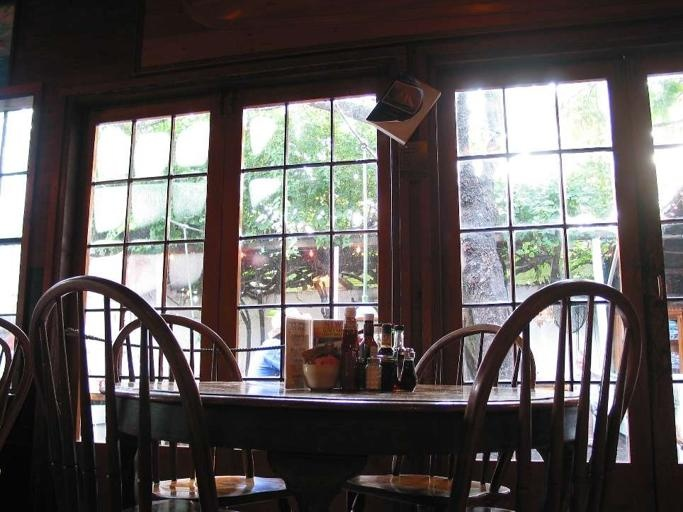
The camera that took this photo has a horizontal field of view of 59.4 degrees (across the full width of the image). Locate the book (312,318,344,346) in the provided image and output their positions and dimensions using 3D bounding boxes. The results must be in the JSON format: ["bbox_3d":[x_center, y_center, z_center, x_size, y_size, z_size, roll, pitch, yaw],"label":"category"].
[{"bbox_3d":[-0.040,0.280,2.065,0.133,0.098,0.077,1,-11,-9],"label":"book"}]

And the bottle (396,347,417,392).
[{"bbox_3d":[0.228,0.399,2.101,0.076,0.132,0.125,1,1,5],"label":"bottle"}]
